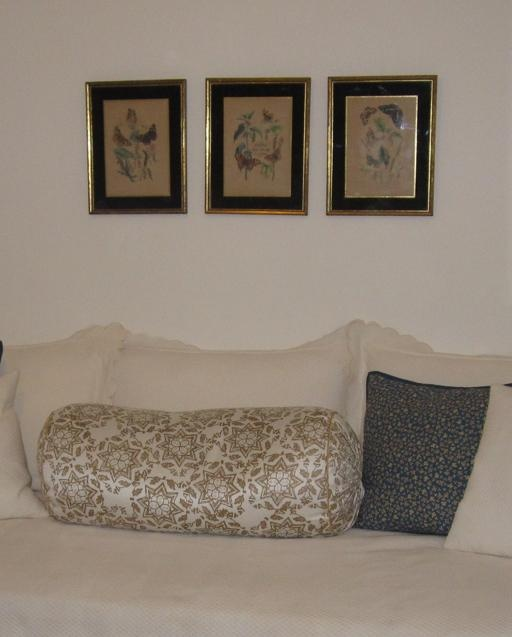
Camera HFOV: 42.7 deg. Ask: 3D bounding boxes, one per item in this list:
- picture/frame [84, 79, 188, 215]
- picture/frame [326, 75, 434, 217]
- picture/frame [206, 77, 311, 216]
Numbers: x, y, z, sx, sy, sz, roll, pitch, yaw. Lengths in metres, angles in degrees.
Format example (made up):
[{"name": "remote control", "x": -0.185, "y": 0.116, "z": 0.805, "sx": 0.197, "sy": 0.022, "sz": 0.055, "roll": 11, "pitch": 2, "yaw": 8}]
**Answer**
[{"name": "picture/frame", "x": -0.386, "y": -0.579, "z": 2.161, "sx": 0.448, "sy": 0.537, "sz": 0.022, "roll": 1, "pitch": 3, "yaw": 1}, {"name": "picture/frame", "x": 0.402, "y": -0.558, "z": 2.069, "sx": 0.438, "sy": 0.550, "sz": 0.037, "roll": 1, "pitch": 5, "yaw": 6}, {"name": "picture/frame", "x": 0.018, "y": -0.568, "z": 2.114, "sx": 0.442, "sy": 0.546, "sz": 0.027, "roll": 1, "pitch": 6, "yaw": 1}]
